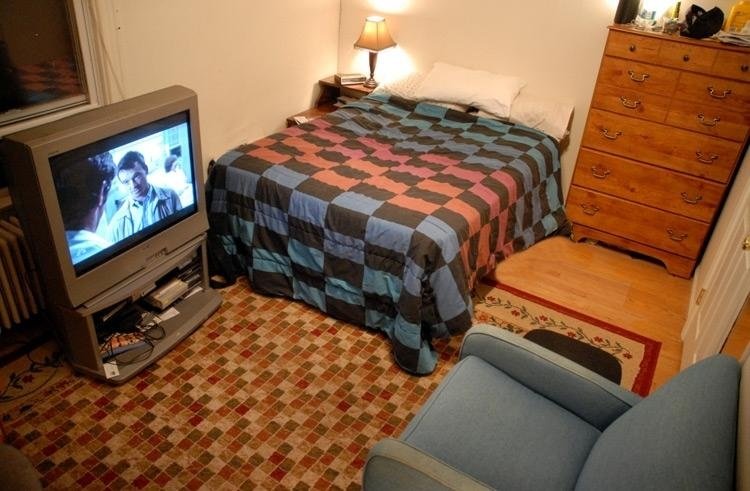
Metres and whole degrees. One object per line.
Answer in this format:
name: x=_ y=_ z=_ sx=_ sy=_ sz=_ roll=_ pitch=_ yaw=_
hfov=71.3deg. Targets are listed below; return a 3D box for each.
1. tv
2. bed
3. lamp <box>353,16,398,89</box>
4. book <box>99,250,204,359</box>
tv: x=-1.592 y=-0.263 z=3.025 sx=0.585 sy=0.984 sz=1.077 roll=26 pitch=42 yaw=22
bed: x=0.010 y=0.164 z=4.035 sx=2.178 sy=0.896 sz=2.181 roll=22 pitch=42 yaw=32
lamp: x=0.003 y=-1.917 z=5.279 sx=0.416 sy=0.665 sz=0.380 roll=18 pitch=33 yaw=20
book: x=-1.433 y=0.392 z=3.290 sx=0.251 sy=0.388 sz=0.644 roll=33 pitch=59 yaw=6
